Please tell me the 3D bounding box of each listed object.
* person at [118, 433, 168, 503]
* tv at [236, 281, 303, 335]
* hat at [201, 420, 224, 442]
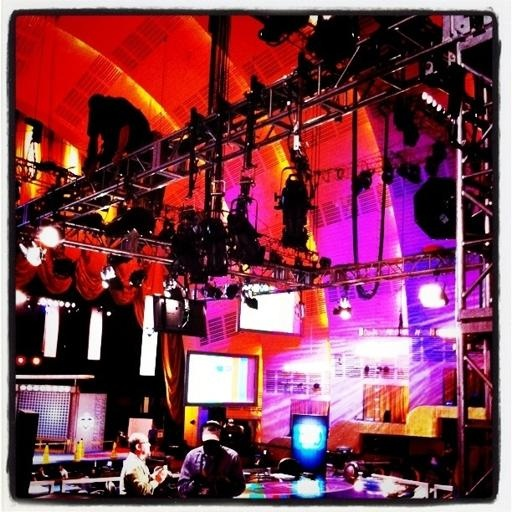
[{"bbox_3d":[-1.135,2.042,5.843,0.371,0.589,1.939,2,-17,-12],"label":"person"},{"bbox_3d":[0.264,1.022,11.411,1.685,0.957,0.335,13,-20,-41],"label":"tv"},{"bbox_3d":[-0.319,1.312,4.465,0.127,0.167,0.168,5,-13,-26],"label":"hat"}]
